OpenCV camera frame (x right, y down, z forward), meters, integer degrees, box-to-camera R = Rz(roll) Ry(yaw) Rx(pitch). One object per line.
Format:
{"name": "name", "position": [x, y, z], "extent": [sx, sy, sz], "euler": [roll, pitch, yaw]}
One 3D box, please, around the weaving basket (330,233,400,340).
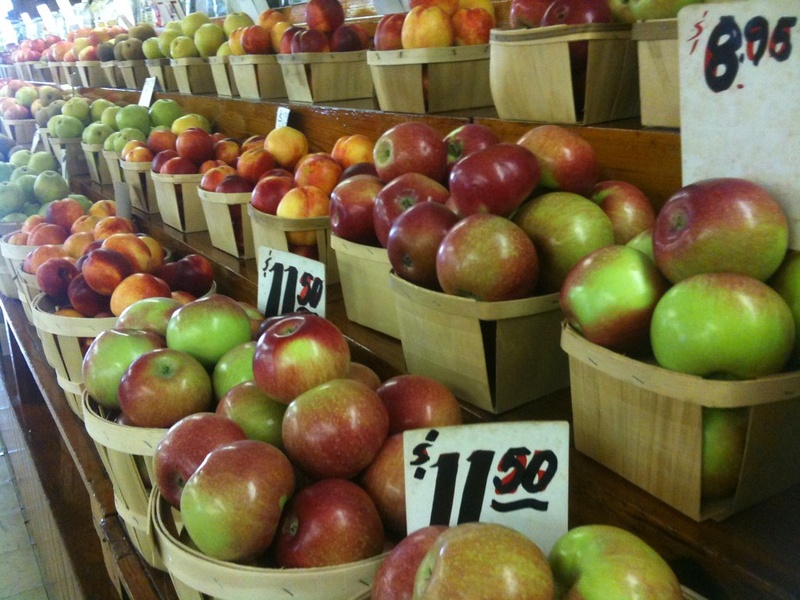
{"name": "weaving basket", "position": [-0.073, -0.042, 1.456], "extent": [0.202, 0.166, 0.191], "euler": [12, 24, 23]}

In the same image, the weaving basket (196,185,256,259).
{"name": "weaving basket", "position": [-0.512, -0.259, 1.997], "extent": [0.215, 0.197, 0.247], "euler": [-10, 16, -28]}

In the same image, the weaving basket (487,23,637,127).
{"name": "weaving basket", "position": [0.384, -0.548, 1.460], "extent": [0.242, 0.214, 0.332], "euler": [20, 37, 41]}

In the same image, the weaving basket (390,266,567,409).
{"name": "weaving basket", "position": [0.143, 0.037, 1.117], "extent": [0.220, 0.151, 0.266], "euler": [-15, 22, -39]}

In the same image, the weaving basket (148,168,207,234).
{"name": "weaving basket", "position": [-0.800, -0.356, 2.314], "extent": [0.226, 0.205, 0.257], "euler": [-5, 10, -20]}

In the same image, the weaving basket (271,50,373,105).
{"name": "weaving basket", "position": [-0.247, -0.762, 2.205], "extent": [0.272, 0.133, 0.206], "euler": [-11, 20, -33]}

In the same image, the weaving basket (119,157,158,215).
{"name": "weaving basket", "position": [-1.082, -0.472, 2.601], "extent": [0.231, 0.190, 0.223], "euler": [-7, 13, -22]}
